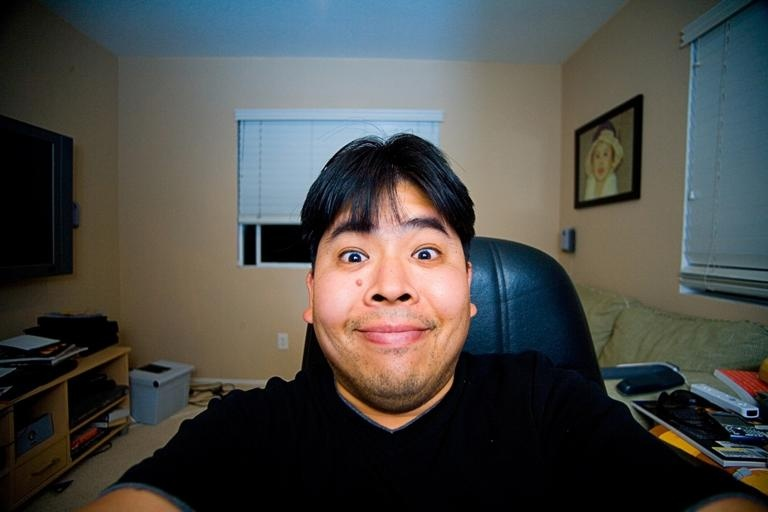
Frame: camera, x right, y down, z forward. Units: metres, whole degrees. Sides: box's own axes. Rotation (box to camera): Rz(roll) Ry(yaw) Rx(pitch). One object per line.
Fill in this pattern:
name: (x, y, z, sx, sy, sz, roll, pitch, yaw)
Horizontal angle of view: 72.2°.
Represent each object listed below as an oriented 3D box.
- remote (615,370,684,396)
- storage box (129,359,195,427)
remote: (1.488, 0.677, 2.931, 0.301, 0.060, 0.150, -5, 3, -13)
storage box: (-1.721, 1.035, 4.008, 0.344, 0.315, 0.429, 4, 5, 10)
